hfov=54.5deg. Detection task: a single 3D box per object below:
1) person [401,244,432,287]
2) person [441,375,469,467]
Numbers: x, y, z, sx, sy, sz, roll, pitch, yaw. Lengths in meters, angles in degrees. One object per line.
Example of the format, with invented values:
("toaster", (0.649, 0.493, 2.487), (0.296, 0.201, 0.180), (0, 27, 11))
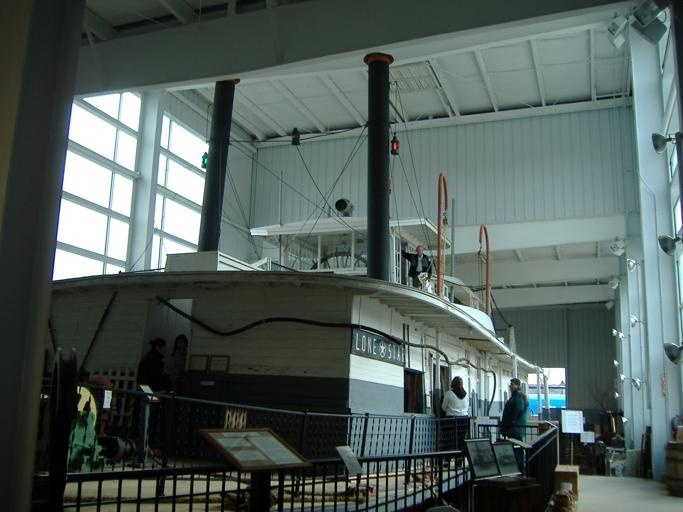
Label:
("person", (1.979, 0.285, 17.851), (0.937, 1.846, 0.544), (-1, -7, 10))
("person", (2.379, 3.273, 13.847), (0.527, 1.505, 1.070), (1, -8, 12))
